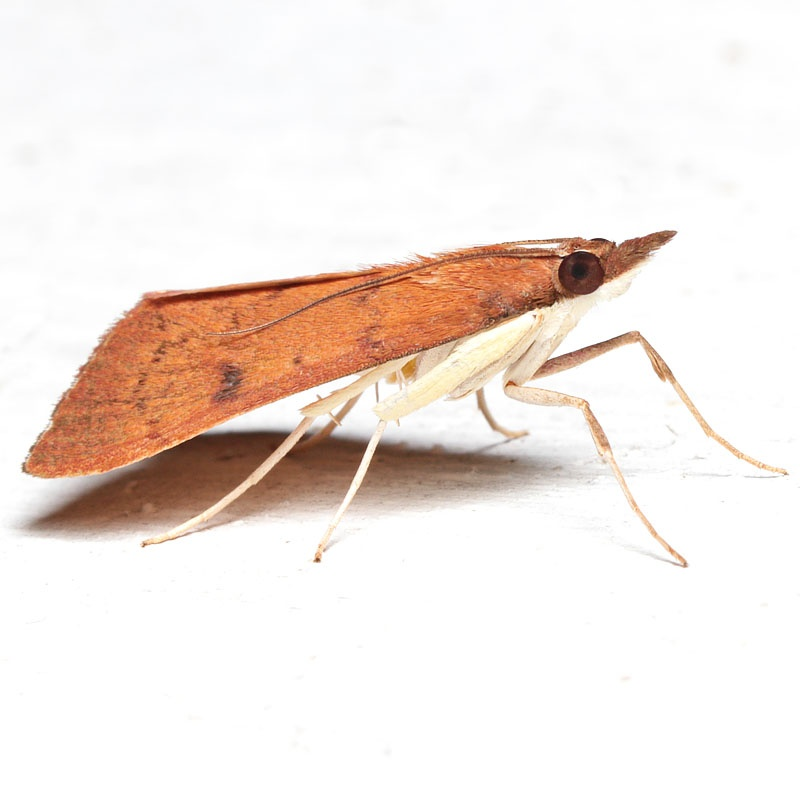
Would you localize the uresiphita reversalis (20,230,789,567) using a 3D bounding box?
[{"bbox_3d":[0.118,-0.131,3.794,2.703,1.640,1.066,0,96,4],"label":"uresiphita reversalis"}]
